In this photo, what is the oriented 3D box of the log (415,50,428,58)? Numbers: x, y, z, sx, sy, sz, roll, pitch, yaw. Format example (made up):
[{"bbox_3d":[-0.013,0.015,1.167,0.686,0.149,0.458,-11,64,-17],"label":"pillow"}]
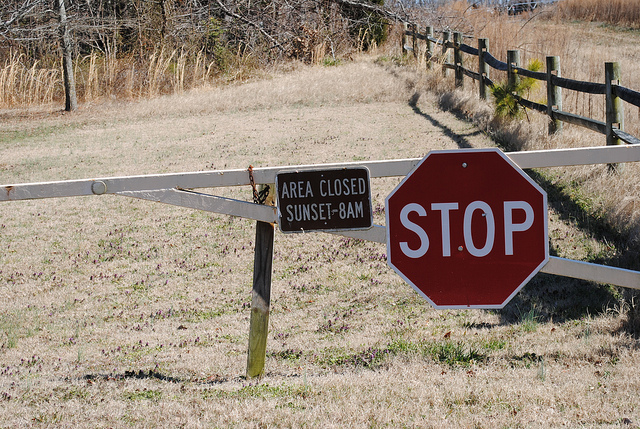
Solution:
[{"bbox_3d":[2.945,-4.802,37.870,0.294,0.110,0.202,41,-21,-26],"label":"log"}]

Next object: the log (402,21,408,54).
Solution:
[{"bbox_3d":[2.654,-5.801,41.175,0.162,1.078,0.881,0,17,4],"label":"log"}]

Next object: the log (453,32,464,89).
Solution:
[{"bbox_3d":[3.684,-4.259,34.725,0.191,1.313,0.170,4,11,34],"label":"log"}]

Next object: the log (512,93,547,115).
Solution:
[{"bbox_3d":[4.985,-2.714,30.931,0.228,0.261,1.482,13,21,-18],"label":"log"}]

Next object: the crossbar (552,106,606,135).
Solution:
[{"bbox_3d":[5.876,-2.196,29.440,0.244,0.373,1.593,-20,28,-36],"label":"crossbar"}]

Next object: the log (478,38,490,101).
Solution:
[{"bbox_3d":[4.125,-3.844,33.353,0.336,1.696,0.373,-5,25,-1],"label":"log"}]

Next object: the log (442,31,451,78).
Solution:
[{"bbox_3d":[3.430,-4.516,35.740,0.195,1.186,0.660,0,17,6],"label":"log"}]

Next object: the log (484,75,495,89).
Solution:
[{"bbox_3d":[4.229,-3.404,32.876,0.144,0.214,0.179,8,33,35],"label":"log"}]

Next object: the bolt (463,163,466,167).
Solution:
[{"bbox_3d":[2.738,-0.983,24.870,0.045,0.052,0.010,-3,-7,5],"label":"bolt"}]

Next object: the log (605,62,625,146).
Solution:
[{"bbox_3d":[6.407,-2.509,28.521,0.384,1.899,0.432,-6,-12,39],"label":"log"}]

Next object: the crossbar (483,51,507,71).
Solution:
[{"bbox_3d":[4.450,-4.014,33.291,0.239,0.285,1.545,-17,16,-12],"label":"crossbar"}]

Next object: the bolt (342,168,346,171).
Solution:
[{"bbox_3d":[0.434,-0.896,25.014,0.047,0.047,0.017,-3,16,-6],"label":"bolt"}]
